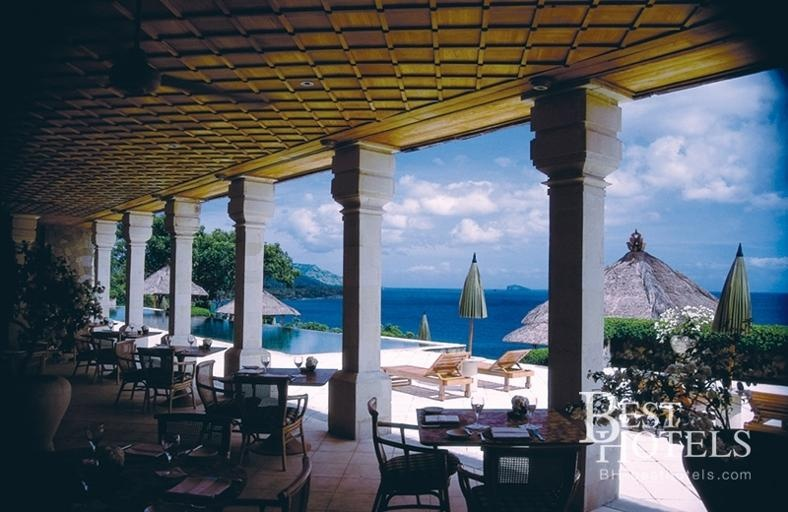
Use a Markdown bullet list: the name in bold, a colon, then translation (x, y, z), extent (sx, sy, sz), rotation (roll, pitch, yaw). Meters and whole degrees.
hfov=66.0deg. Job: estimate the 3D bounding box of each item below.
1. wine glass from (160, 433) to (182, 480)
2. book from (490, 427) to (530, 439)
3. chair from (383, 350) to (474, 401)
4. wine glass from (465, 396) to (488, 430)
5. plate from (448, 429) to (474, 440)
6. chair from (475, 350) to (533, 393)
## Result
- **wine glass**: translation (-2.203, 1.989, 6.086), extent (0.258, 0.299, 0.928), rotation (9, -10, -18)
- **book**: translation (1.176, 1.812, 6.211), extent (0.395, 0.103, 0.303), rotation (4, -9, 9)
- **chair**: translation (0.769, 2.155, 11.378), extent (0.748, 0.763, 2.078), rotation (2, 0, -38)
- **wine glass**: translation (0.900, 1.689, 6.647), extent (0.307, 0.355, 0.288), rotation (-1, 0, -2)
- **plate**: translation (0.677, 1.844, 6.299), extent (0.262, 0.089, 0.208), rotation (1, -10, 22)
- **chair**: translation (2.158, 2.228, 12.221), extent (0.618, 0.599, 1.402), rotation (1, -6, -28)
